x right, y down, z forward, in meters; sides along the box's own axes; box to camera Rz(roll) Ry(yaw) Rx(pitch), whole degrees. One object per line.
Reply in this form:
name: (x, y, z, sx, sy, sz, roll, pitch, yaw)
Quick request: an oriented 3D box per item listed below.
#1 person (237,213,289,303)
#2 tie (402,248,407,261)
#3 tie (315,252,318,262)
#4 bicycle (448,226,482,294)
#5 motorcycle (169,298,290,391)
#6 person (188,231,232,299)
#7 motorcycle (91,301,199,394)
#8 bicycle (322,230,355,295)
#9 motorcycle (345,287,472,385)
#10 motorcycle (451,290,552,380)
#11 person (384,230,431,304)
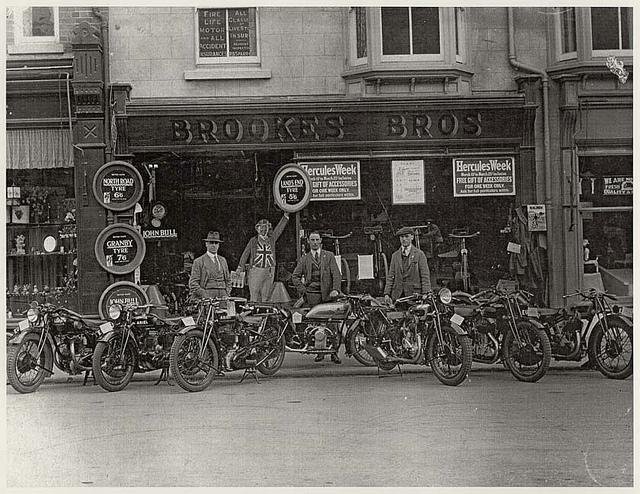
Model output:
person: (-0.743, 0.152, 14.862, 0.649, 1.116, 0.223, -1, 0, -5)
tie: (1.049, 0.079, 14.532, 0.100, 0.150, 0.035, 2, 6, 2)
tie: (-0.057, 0.117, 14.616, 0.036, 0.102, 0.013, 0, 0, 15)
bicycle: (1.816, 0.158, 14.617, 0.383, 0.826, 0.103, 0, 0, 9)
motorcycle: (-1.140, 1.219, 14.877, 0.726, 1.125, 2.156, -9, -3, 37)
person: (-1.399, 0.223, 14.768, 0.533, 0.821, 0.151, -1, 0, -6)
motorcycle: (-2.158, 1.187, 14.922, 0.627, 1.133, 1.953, -8, -2, 39)
bicycle: (0.209, 0.204, 14.656, 0.437, 0.731, 0.734, 0, 10, 0)
motorcycle: (1.073, 1.020, 14.911, 0.866, 1.261, 2.086, 6, -2, -44)
motorcycle: (2.185, 1.036, 15.040, 0.850, 1.200, 2.098, -3, 3, -29)
person: (1.092, 0.247, 14.674, 0.580, 0.895, 0.297, -1, 0, 3)
